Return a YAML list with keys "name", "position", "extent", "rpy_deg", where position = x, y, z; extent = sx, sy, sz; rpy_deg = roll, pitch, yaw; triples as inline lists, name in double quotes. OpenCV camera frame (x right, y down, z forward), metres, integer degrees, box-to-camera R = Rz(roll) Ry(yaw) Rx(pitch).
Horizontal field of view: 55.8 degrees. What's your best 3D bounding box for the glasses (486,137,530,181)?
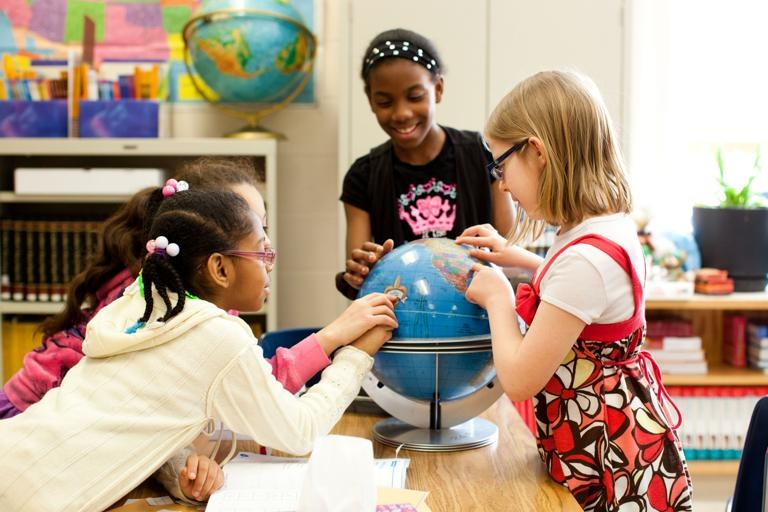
- name: "glasses"
  position: [0.353, -0.274, 1.954]
  extent: [0.126, 0.039, 0.120]
  rpy_deg: [-38, 0, 29]
